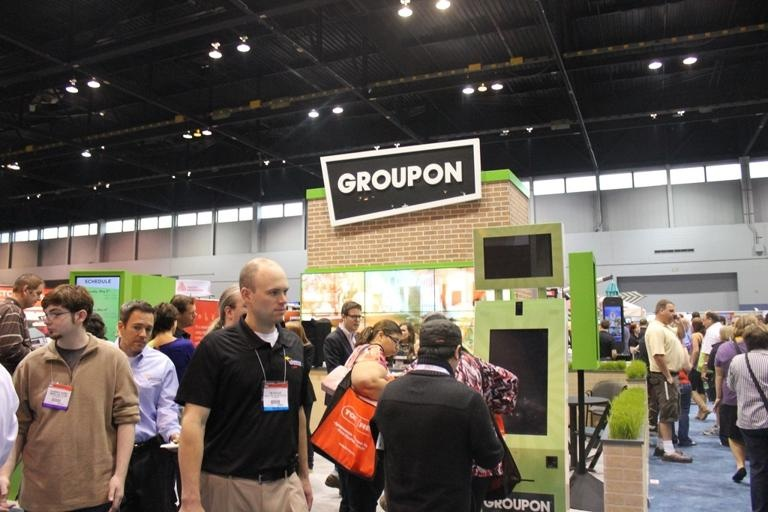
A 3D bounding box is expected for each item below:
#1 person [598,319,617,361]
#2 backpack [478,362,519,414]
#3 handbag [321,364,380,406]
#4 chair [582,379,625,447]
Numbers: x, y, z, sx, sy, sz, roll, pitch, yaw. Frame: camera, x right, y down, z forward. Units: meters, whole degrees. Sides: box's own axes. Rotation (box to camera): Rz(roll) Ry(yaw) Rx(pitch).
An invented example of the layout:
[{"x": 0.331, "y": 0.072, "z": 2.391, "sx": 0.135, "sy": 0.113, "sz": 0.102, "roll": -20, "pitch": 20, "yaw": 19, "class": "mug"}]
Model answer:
[{"x": 4.362, "y": 1.651, "z": 12.137, "sx": 0.262, "sy": 0.794, "sz": 2.083, "roll": -2, "pitch": -6, "yaw": 20, "class": "person"}, {"x": 1.053, "y": 1.183, "z": 5.757, "sx": 0.322, "sy": 0.454, "sz": 0.151, "roll": -22, "pitch": 1, "yaw": 3, "class": "backpack"}, {"x": -0.273, "y": 1.218, "z": 6.112, "sx": 0.518, "sy": 0.523, "sz": 0.404, "roll": -8, "pitch": -6, "yaw": 17, "class": "handbag"}, {"x": 3.083, "y": 2.246, "z": 9.008, "sx": 0.596, "sy": 0.923, "sz": 0.582, "roll": 17, "pitch": -3, "yaw": -14, "class": "chair"}]
